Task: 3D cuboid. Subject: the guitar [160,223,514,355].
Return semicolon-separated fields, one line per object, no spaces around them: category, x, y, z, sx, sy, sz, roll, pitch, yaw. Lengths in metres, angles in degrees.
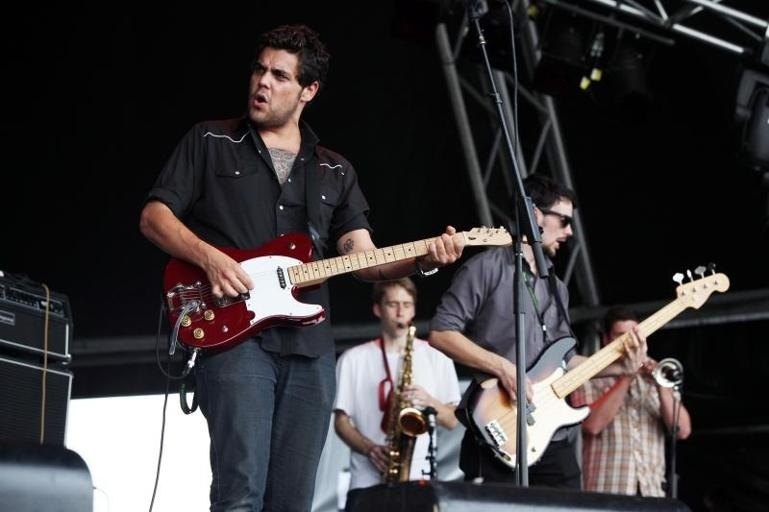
guitar;-0.302;0.247;4.888;0.611;0.770;1.010;3;-34;-27

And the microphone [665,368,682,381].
microphone;2.019;0.821;5.291;0.078;0.092;0.035;-19;-5;26

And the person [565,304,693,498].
person;1.926;1.443;5.922;0.799;2.217;0.625;9;-35;5

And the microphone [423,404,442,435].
microphone;0.349;1.194;5.553;0.113;0.156;0.226;-7;2;0

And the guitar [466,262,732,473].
guitar;1.628;0.880;5.565;1.530;0.545;0.223;-37;2;-14

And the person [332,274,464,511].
person;0.078;1.131;6.577;0.915;1.901;0.818;1;-4;-5

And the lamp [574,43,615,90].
lamp;1.726;-1.545;6.227;0.171;0.375;0.082;18;30;17
